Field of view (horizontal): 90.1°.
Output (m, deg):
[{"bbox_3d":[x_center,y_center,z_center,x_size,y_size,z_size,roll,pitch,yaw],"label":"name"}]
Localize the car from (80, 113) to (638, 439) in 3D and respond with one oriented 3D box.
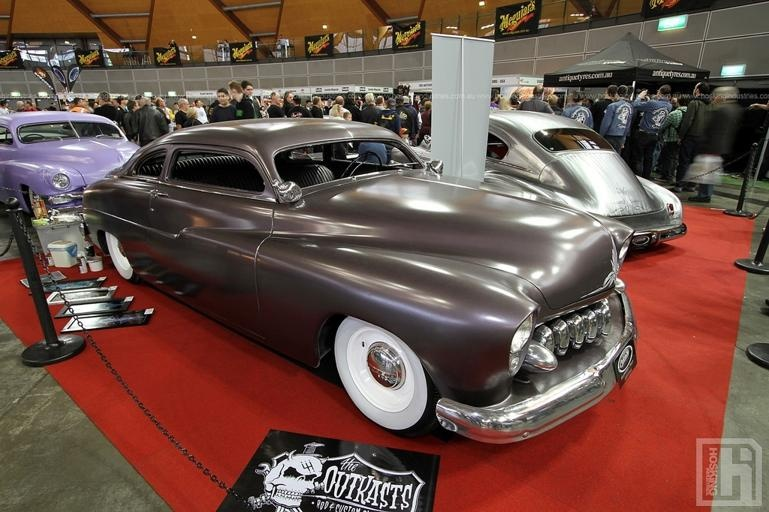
[{"bbox_3d":[-0.736,0.018,3.879,5.544,1.682,2.469,17,33,32],"label":"car"}]
